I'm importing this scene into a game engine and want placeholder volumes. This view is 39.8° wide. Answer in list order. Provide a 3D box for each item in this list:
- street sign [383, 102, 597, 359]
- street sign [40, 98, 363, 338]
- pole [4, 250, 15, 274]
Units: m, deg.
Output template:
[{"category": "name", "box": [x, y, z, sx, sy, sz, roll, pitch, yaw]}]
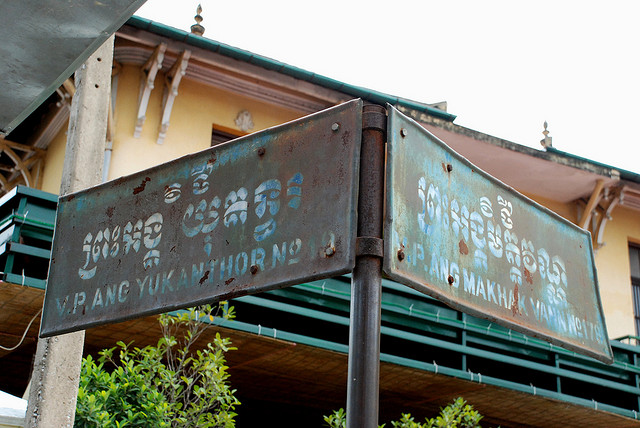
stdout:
[{"category": "street sign", "box": [1.267, 0.230, 6.288, 2.319, 1.253, 0.148, 23, -31, -35]}, {"category": "street sign", "box": [-0.815, 0.057, 6.135, 2.257, 1.881, 0.116, 5, -10, 20]}, {"category": "pole", "box": [-3.774, 0.576, 10.701, 0.079, 0.294, 0.224, 12, -10, -19]}]
